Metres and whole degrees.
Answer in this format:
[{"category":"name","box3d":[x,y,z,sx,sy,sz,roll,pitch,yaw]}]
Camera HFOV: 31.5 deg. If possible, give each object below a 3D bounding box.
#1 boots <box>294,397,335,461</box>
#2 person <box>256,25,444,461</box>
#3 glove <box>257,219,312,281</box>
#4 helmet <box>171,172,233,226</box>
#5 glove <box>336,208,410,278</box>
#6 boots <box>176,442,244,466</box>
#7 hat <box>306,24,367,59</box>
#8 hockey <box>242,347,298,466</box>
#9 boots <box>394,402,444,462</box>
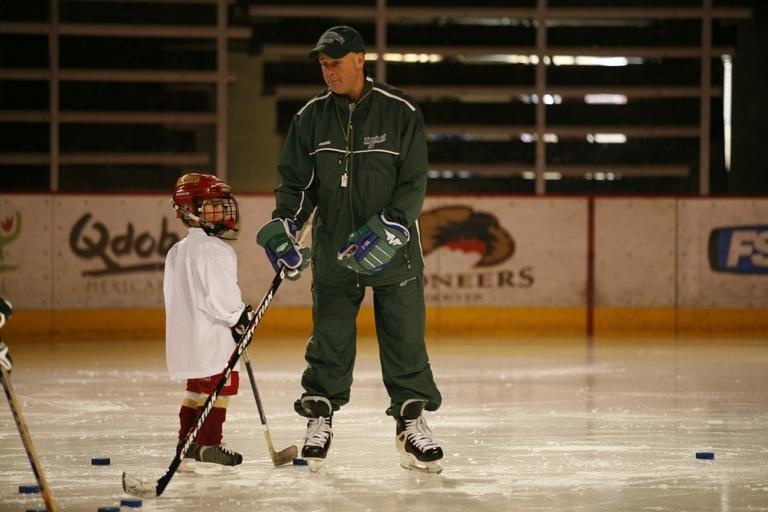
[{"category":"boots","box3d":[-0.511,1.264,10.132,0.339,0.427,0.276,-5,12,-20]},{"category":"person","box3d":[-0.241,-0.055,10.215,1.372,3.170,1.008,0,1,0]},{"category":"glove","box3d":[-0.737,-0.061,10.030,0.275,0.546,0.297,-17,50,-16]},{"category":"helmet","box3d":[-1.348,-0.427,10.190,0.418,0.367,0.324,-9,2,7]},{"category":"glove","box3d":[0.008,-0.084,10.124,0.589,0.257,0.427,-38,22,23]},{"category":"boots","box3d":[-1.283,1.433,10.033,0.483,0.185,0.161,5,0,0]},{"category":"hat","box3d":[-0.346,-1.585,10.157,0.308,0.227,0.432,19,20,39]},{"category":"hockey","box3d":[-0.883,1.171,10.207,0.334,0.970,0.086,-17,-6,-6]},{"category":"boots","box3d":[0.232,1.310,10.134,0.481,0.495,0.201,0,-5,45]}]
